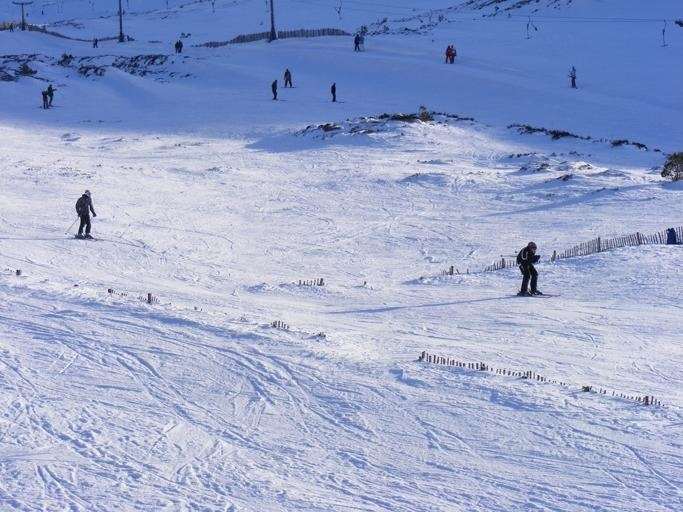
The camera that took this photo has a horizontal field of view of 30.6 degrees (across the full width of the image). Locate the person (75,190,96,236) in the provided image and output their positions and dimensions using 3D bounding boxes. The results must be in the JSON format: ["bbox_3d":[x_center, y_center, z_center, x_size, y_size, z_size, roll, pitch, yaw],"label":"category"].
[{"bbox_3d":[-16.512,-2.663,80.600,1.237,3.099,1.021,5,8,-4],"label":"person"}]
